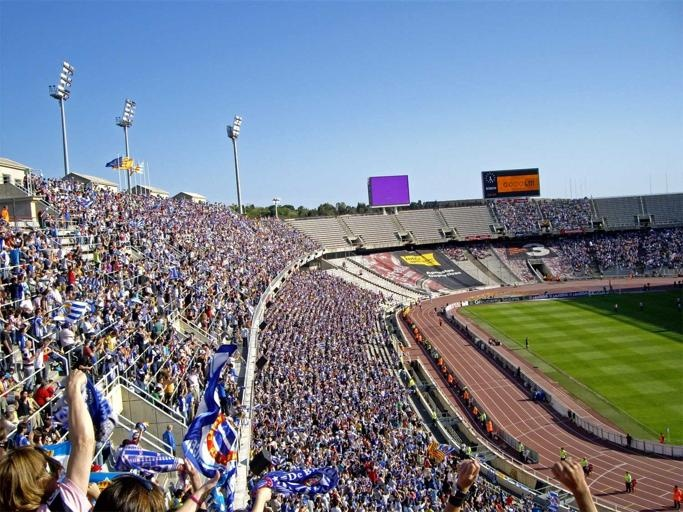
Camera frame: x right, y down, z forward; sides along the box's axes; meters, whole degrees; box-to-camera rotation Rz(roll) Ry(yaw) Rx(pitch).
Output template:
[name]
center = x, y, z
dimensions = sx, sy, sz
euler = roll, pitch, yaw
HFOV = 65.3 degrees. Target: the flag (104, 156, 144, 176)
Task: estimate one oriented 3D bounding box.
[flag]
center = -16.868, -7.140, 41.696
dimensions = 1.061, 1.119, 3.720
euler = -4, 3, 5
